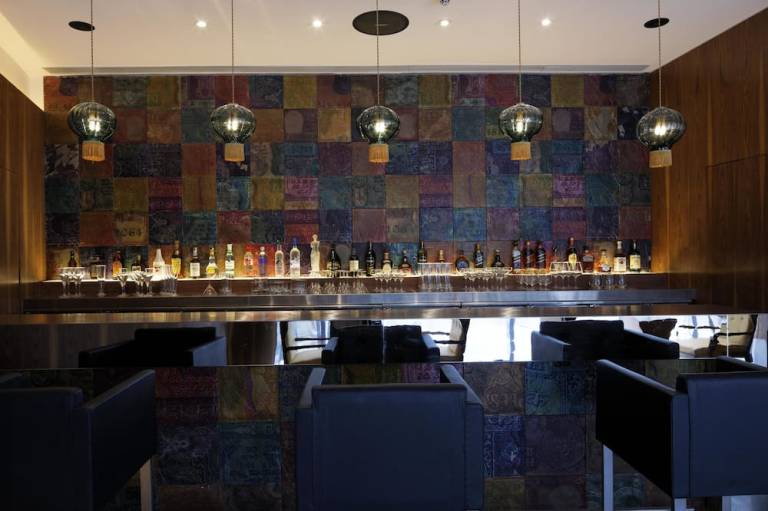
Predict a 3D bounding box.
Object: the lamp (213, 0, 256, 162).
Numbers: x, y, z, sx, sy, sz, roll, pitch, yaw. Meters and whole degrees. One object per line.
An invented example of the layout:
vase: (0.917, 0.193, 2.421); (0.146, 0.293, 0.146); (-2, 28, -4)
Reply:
lamp: (-1.290, -1.372, 6.845); (0.326, 1.320, 1.756); (-1, -2, -10)
